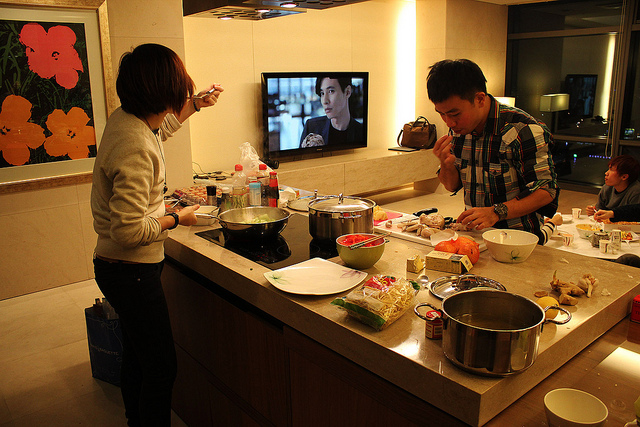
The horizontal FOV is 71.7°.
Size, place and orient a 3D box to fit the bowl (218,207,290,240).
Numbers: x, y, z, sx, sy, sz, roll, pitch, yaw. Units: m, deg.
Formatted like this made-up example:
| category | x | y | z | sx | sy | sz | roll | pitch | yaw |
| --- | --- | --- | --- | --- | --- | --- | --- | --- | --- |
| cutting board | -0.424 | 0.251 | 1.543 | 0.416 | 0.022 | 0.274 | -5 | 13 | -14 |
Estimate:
| category | x | y | z | sx | sy | sz | roll | pitch | yaw |
| --- | --- | --- | --- | --- | --- | --- | --- | --- | --- |
| bowl | -0.351 | 0.056 | 2.319 | 0.374 | 0.124 | 0.383 | 2 | 14 | -1 |

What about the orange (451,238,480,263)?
| category | x | y | z | sx | sy | sz | roll | pitch | yaw |
| --- | --- | --- | --- | --- | --- | --- | --- | --- | --- |
| orange | 0.638 | 0.155 | 1.973 | 0.113 | 0.088 | 0.085 | 13 | 17 | 24 |

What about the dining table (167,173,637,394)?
| category | x | y | z | sx | sy | sz | roll | pitch | yaw |
| --- | --- | --- | --- | --- | --- | --- | --- | --- | --- |
| dining table | 0.348 | 0.149 | 2.018 | 1.657 | 0.357 | 1.115 | 12 | 22 | 41 |

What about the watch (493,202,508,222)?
| category | x | y | z | sx | sy | sz | roll | pitch | yaw |
| --- | --- | --- | --- | --- | --- | --- | --- | --- | --- |
| watch | 0.919 | -0.008 | 2.303 | 0.067 | 0.104 | 0.103 | -3 | -13 | -3 |

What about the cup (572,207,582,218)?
| category | x | y | z | sx | sy | sz | roll | pitch | yaw |
| --- | --- | --- | --- | --- | --- | --- | --- | --- | --- |
| cup | 2.597 | -0.007 | 4.508 | 0.096 | 0.073 | 0.092 | 0 | 18 | 0 |

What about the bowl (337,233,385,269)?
| category | x | y | z | sx | sy | sz | roll | pitch | yaw |
| --- | --- | --- | --- | --- | --- | --- | --- | --- | --- |
| bowl | 0.173 | 0.170 | 1.973 | 0.198 | 0.120 | 0.211 | 2 | 15 | -1 |

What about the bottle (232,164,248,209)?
| category | x | y | z | sx | sy | sz | roll | pitch | yaw |
| --- | --- | --- | --- | --- | --- | --- | --- | --- | --- |
| bottle | -0.474 | -0.146 | 2.630 | 0.108 | 0.293 | 0.099 | 0 | 11 | 0 |

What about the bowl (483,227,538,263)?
| category | x | y | z | sx | sy | sz | roll | pitch | yaw |
| --- | --- | --- | --- | --- | --- | --- | --- | --- | --- |
| bowl | 0.842 | 0.133 | 1.973 | 0.175 | 0.078 | 0.173 | -2 | 14 | 0 |

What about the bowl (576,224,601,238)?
| category | x | y | z | sx | sy | sz | roll | pitch | yaw |
| --- | --- | --- | --- | --- | --- | --- | --- | --- | --- |
| bowl | 2.218 | 0.137 | 3.700 | 0.128 | 0.055 | 0.132 | -3 | 8 | 0 |

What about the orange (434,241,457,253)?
| category | x | y | z | sx | sy | sz | roll | pitch | yaw |
| --- | --- | --- | --- | --- | --- | --- | --- | --- | --- |
| orange | 0.548 | 0.146 | 1.933 | 0.055 | 0.055 | 0.055 | 13 | 28 | 1 |

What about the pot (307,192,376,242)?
| category | x | y | z | sx | sy | sz | roll | pitch | yaw |
| --- | --- | --- | --- | --- | --- | --- | --- | --- | --- |
| pot | 0.107 | 0.017 | 2.249 | 0.339 | 0.230 | 0.332 | -3 | 14 | 1 |

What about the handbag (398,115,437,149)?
| category | x | y | z | sx | sy | sz | roll | pitch | yaw |
| --- | --- | --- | --- | --- | --- | --- | --- | --- | --- |
| handbag | 1.518 | -1.233 | 6.827 | 0.320 | 0.512 | 0.621 | 2 | 9 | -41 |
